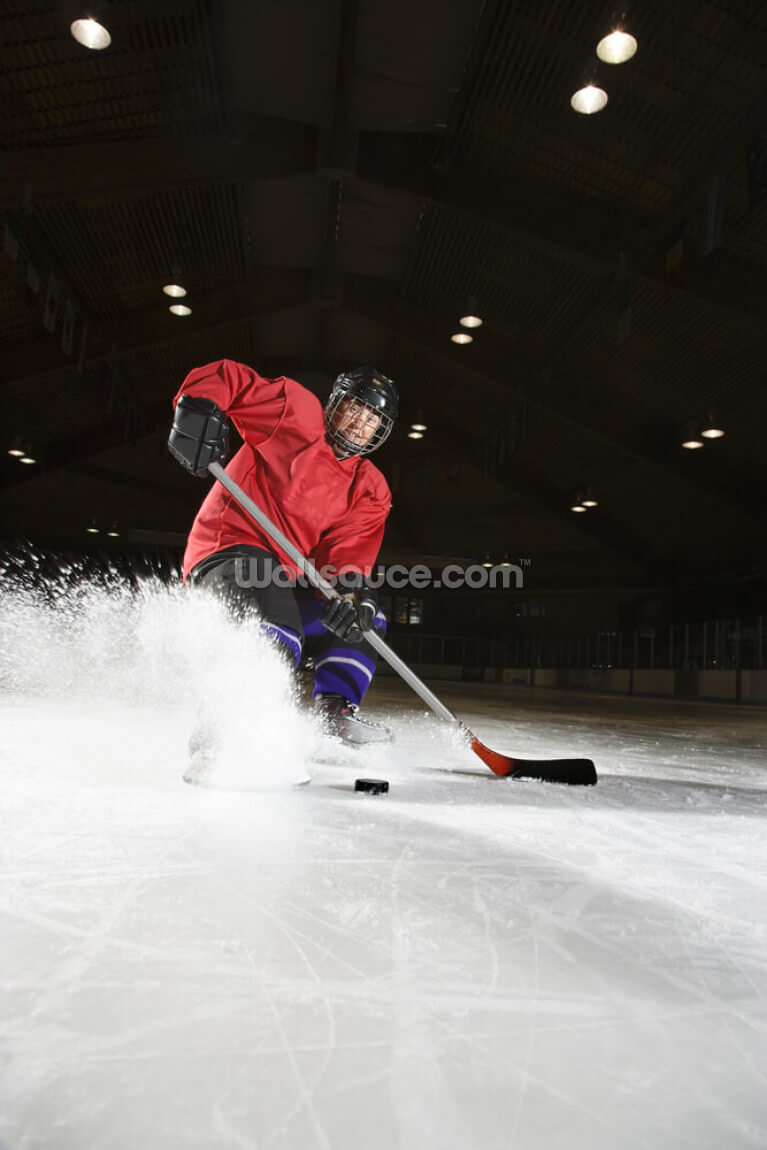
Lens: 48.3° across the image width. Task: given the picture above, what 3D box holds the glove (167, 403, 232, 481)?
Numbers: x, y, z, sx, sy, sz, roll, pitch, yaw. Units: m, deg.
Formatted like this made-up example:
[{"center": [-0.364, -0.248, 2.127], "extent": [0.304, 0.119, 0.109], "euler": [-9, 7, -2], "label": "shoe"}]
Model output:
[{"center": [-0.402, -0.303, 1.910], "extent": [0.153, 0.175, 0.077], "euler": [15, 2, -1], "label": "glove"}]

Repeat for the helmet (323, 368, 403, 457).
[{"center": [-0.040, -0.403, 2.328], "extent": [0.185, 0.222, 0.235], "euler": [26, -9, -14], "label": "helmet"}]

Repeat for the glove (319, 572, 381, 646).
[{"center": [-0.076, 0.067, 1.998], "extent": [0.068, 0.165, 0.127], "euler": [-30, -54, 24], "label": "glove"}]

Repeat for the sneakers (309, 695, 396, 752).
[{"center": [-0.118, 0.375, 2.228], "extent": [0.262, 0.087, 0.118], "euler": [18, -21, 37], "label": "sneakers"}]
